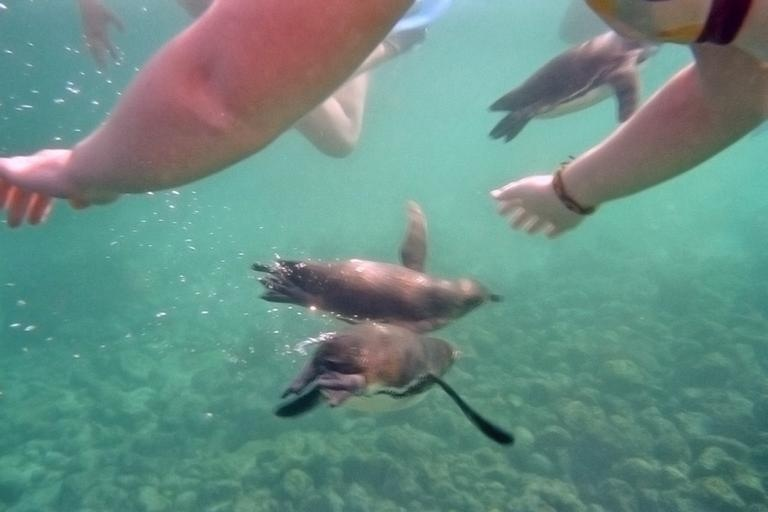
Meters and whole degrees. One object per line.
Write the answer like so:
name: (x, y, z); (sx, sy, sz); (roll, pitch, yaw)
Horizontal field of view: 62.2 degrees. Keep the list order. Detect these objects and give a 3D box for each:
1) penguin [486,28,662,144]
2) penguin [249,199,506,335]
penguin: (0.920, -0.855, 3.071); (0.966, 0.675, 0.377); (-22, 107, 2)
penguin: (-0.037, 0.117, 2.872); (0.662, 0.522, 0.228); (20, 101, -18)
